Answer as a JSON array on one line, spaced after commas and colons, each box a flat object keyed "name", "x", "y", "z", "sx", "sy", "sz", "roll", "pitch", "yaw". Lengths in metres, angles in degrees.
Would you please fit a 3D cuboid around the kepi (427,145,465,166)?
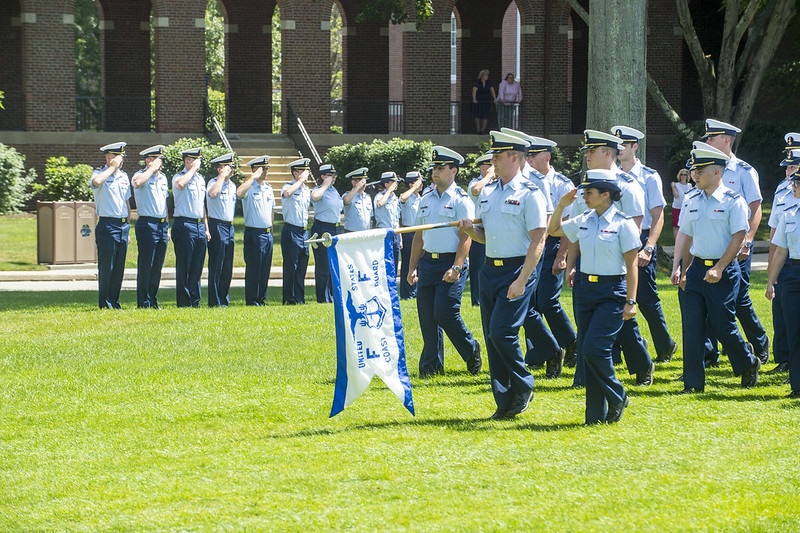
[{"name": "kepi", "x": 0.821, "y": -1.938, "z": 28.338, "sx": 0.473, "sy": 0.187, "sz": 0.399, "roll": 4, "pitch": -3, "yaw": -44}]

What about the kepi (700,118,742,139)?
[{"name": "kepi", "x": 5.667, "y": -2.444, "z": 28.844, "sx": 0.588, "sy": 0.344, "sz": 0.518, "roll": 0, "pitch": 1, "yaw": 8}]

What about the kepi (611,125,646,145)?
[{"name": "kepi", "x": 4.169, "y": -2.367, "z": 29.238, "sx": 0.459, "sy": 0.210, "sz": 0.534, "roll": 0, "pitch": -11, "yaw": 34}]

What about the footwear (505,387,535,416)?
[{"name": "footwear", "x": 1.994, "y": 2.302, "z": 27.285, "sx": 0.643, "sy": 0.222, "sz": 0.294, "roll": -41, "pitch": -21, "yaw": 7}]

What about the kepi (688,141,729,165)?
[{"name": "kepi", "x": 5.323, "y": -1.920, "z": 27.965, "sx": 0.556, "sy": 0.258, "sz": 0.439, "roll": 4, "pitch": -2, "yaw": -13}]

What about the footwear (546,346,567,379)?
[{"name": "footwear", "x": 2.740, "y": 1.735, "z": 28.857, "sx": 0.218, "sy": 0.574, "sz": 0.314, "roll": 21, "pitch": 19, "yaw": 30}]

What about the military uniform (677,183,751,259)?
[{"name": "military uniform", "x": 5.443, "y": -0.744, "z": 28.157, "sx": 1.439, "sy": 1.171, "sz": 0.612, "roll": 1, "pitch": 5, "yaw": 44}]

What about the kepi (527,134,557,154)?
[{"name": "kepi", "x": 2.470, "y": -2.159, "z": 28.916, "sx": 0.443, "sy": 0.214, "sz": 0.449, "roll": 1, "pitch": 4, "yaw": 39}]

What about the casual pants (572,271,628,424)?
[{"name": "casual pants", "x": 3.323, "y": 1.365, "z": 27.123, "sx": 0.853, "sy": 2.486, "sz": 0.581, "roll": 0, "pitch": 1, "yaw": 13}]

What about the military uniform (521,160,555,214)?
[{"name": "military uniform", "x": 2.315, "y": -1.353, "z": 27.953, "sx": 0.486, "sy": 0.702, "sz": 0.922, "roll": -12, "pitch": 15, "yaw": -16}]

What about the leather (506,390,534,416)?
[{"name": "leather", "x": 1.998, "y": 2.311, "z": 27.301, "sx": 0.630, "sy": 0.213, "sz": 0.280, "roll": -39, "pitch": -15, "yaw": 8}]
